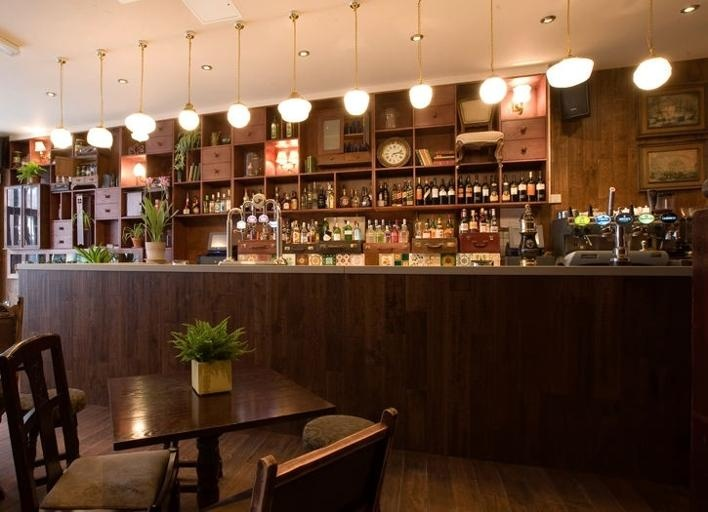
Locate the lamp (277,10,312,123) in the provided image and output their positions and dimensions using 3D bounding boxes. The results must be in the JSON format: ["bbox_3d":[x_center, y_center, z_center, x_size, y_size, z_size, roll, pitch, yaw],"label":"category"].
[{"bbox_3d":[-0.676,-1.899,6.418,0.308,1.110,1.625,-2,0,-6],"label":"lamp"}]

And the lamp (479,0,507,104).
[{"bbox_3d":[1.442,-1.987,6.068,0.227,0.960,1.557,-2,0,15],"label":"lamp"}]

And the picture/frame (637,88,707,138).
[{"bbox_3d":[3.694,-1.644,6.719,0.563,0.506,0.061,0,-1,13],"label":"picture/frame"}]

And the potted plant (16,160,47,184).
[{"bbox_3d":[-4.951,-1.269,9.049,0.391,0.402,0.408,1,-4,22],"label":"potted plant"}]

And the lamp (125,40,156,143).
[{"bbox_3d":[-2.537,-1.813,6.907,0.276,1.121,1.929,-2,0,-19],"label":"lamp"}]

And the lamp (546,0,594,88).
[{"bbox_3d":[2.065,-1.994,5.632,0.367,0.782,1.535,-2,0,20],"label":"lamp"}]

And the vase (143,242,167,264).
[{"bbox_3d":[-1.836,-0.044,5.488,0.191,0.216,0.197,5,6,25],"label":"vase"}]

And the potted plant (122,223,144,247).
[{"bbox_3d":[-2.998,-0.277,7.902,0.317,0.306,0.329,1,6,8],"label":"potted plant"}]

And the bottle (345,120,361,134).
[{"bbox_3d":[-0.005,-1.632,7.562,0.226,0.233,0.168,3,5,16],"label":"bottle"}]

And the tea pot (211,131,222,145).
[{"bbox_3d":[-1.903,-1.612,8.009,0.128,0.185,0.176,-1,-6,15],"label":"tea pot"}]
